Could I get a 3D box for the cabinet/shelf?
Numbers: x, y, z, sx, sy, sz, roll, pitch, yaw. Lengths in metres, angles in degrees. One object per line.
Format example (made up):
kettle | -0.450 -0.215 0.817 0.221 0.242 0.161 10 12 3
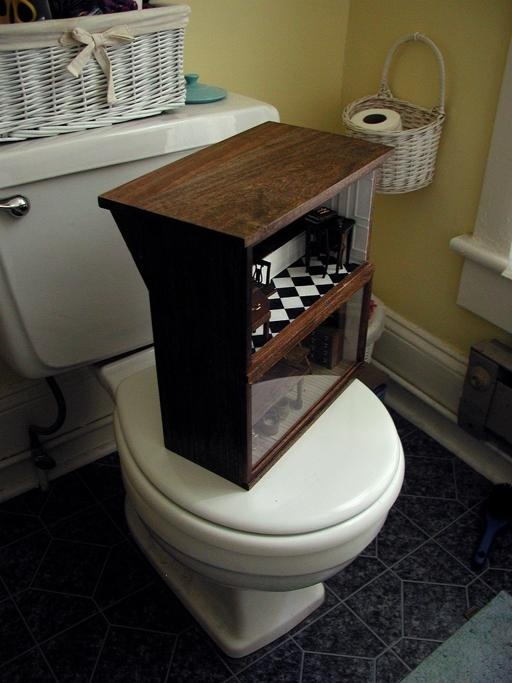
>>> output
cabinet/shelf | -0.002 -0.054 0.787 0.221 0.408 0.393 19 36 26
